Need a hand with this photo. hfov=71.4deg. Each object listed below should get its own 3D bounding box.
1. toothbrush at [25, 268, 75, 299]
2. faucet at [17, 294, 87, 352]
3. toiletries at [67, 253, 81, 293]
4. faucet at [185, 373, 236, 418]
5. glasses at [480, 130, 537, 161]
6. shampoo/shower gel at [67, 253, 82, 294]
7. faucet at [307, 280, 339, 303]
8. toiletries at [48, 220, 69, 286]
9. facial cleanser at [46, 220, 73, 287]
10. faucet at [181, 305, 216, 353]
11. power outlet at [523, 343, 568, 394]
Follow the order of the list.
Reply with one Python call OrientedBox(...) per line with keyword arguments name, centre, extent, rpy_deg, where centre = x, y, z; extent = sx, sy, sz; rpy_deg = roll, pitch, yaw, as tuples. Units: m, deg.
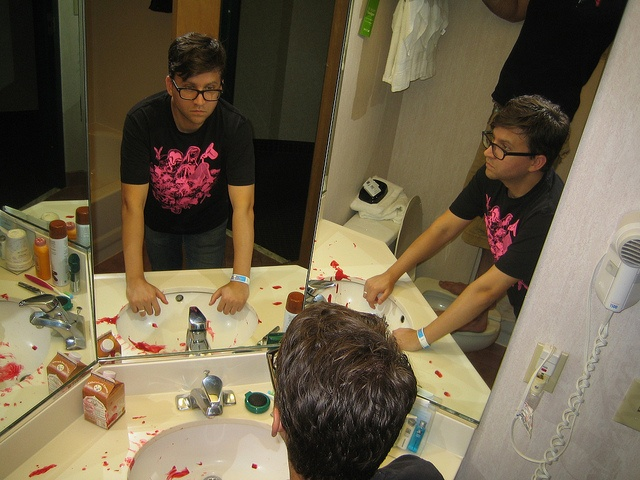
OrientedBox(name="toothbrush", centre=(-0.705, 0.122, 1.159), extent=(0.014, 0.191, 0.025), rpy_deg=(15, 71, 37))
OrientedBox(name="faucet", centre=(-0.709, 0.212, 1.167), extent=(0.150, 0.093, 0.119), rpy_deg=(16, 25, 23))
OrientedBox(name="toiletries", centre=(-0.646, 0.081, 1.168), extent=(0.032, 0.129, 0.034), rpy_deg=(-3, 34, -27))
OrientedBox(name="faucet", centre=(-0.321, 0.462, 1.336), extent=(0.125, 0.065, 0.117), rpy_deg=(24, 35, 25))
OrientedBox(name="glasses", centre=(0.447, -0.230, 1.096), extent=(0.091, 0.064, 0.127), rpy_deg=(5, 30, -9))
OrientedBox(name="shampoo/shower gel", centre=(-0.645, 0.081, 1.168), extent=(0.031, 0.132, 0.034), rpy_deg=(-6, 37, -29))
OrientedBox(name="faucet", centre=(0.013, 0.161, 1.459), extent=(0.092, 0.097, 0.062), rpy_deg=(6, 40, -7))
OrientedBox(name="toiletries", centre=(-0.665, 0.024, 1.130), extent=(0.043, 0.195, 0.048), rpy_deg=(37, 39, 21))
OrientedBox(name="facial cleanser", centre=(-0.672, 0.035, 1.153), extent=(0.041, 0.183, 0.045), rpy_deg=(20, 27, 12))
OrientedBox(name="faucet", centre=(-0.382, 0.274, 1.380), extent=(0.076, 0.124, 0.088), rpy_deg=(-4, 32, -20))
OrientedBox(name="power outlet", centre=(0.591, 0.332, 1.152), extent=(0.085, 0.158, 0.015), rpy_deg=(29, 37, 34))
